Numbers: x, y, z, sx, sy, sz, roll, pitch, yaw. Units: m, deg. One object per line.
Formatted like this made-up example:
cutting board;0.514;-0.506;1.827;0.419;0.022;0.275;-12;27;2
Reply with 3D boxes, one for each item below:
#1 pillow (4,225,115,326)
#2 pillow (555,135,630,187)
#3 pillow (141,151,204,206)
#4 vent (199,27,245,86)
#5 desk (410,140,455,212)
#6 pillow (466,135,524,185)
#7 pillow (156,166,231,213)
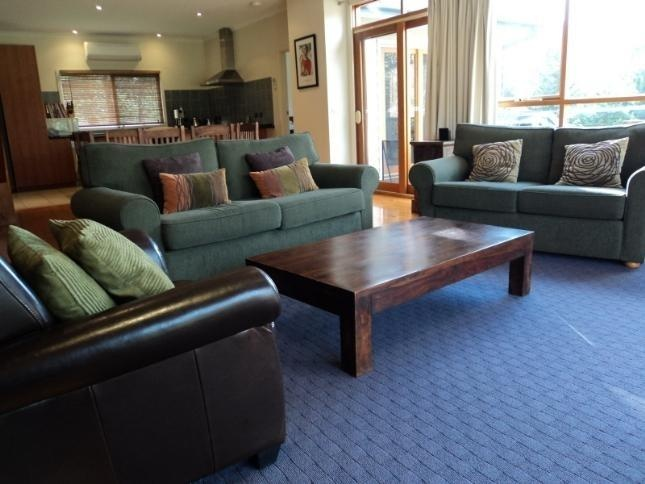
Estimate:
pillow;-0.840;0.175;1.516;0.245;0.194;0.518;-11;36;-37
pillow;2.135;-0.632;3.691;0.438;0.357;0.308;9;23;31
pillow;-1.146;-0.505;3.678;0.203;0.386;0.553;5;17;27
vent;-1.873;-3.646;9.206;0.884;0.983;0.819;-14;23;-43
desk;1.300;-0.894;5.537;0.441;0.658;0.407;2;25;18
pillow;1.588;-0.760;4.260;0.562;0.167;0.578;7;64;17
pillow;-0.962;-0.393;3.534;0.529;0.299;0.168;-11;6;-39
